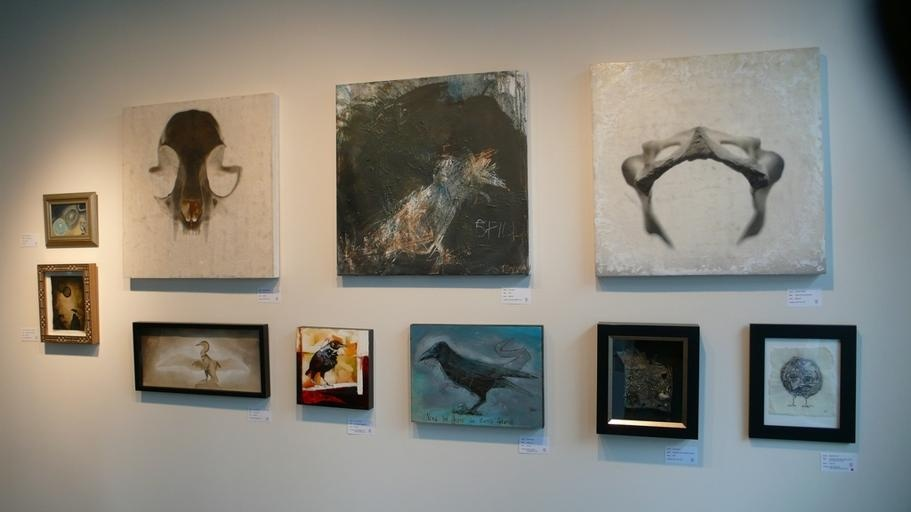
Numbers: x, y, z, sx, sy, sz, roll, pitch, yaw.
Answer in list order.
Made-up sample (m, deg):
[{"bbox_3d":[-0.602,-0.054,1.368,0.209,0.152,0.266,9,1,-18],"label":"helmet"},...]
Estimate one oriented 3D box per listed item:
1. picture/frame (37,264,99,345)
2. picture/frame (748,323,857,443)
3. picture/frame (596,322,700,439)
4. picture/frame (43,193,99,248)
[{"bbox_3d":[-2.852,0.352,5.839,0.647,0.752,0.094,0,1,6],"label":"picture/frame"},{"bbox_3d":[2.334,0.846,5.255,0.862,0.917,0.076,0,1,7],"label":"picture/frame"},{"bbox_3d":[1.309,0.829,5.308,0.836,0.864,0.095,0,1,6],"label":"picture/frame"},{"bbox_3d":[-2.835,-0.264,5.856,0.440,0.405,0.033,0,2,9],"label":"picture/frame"}]
